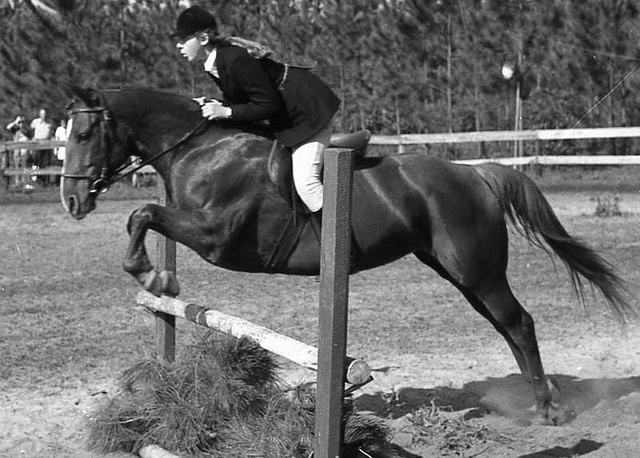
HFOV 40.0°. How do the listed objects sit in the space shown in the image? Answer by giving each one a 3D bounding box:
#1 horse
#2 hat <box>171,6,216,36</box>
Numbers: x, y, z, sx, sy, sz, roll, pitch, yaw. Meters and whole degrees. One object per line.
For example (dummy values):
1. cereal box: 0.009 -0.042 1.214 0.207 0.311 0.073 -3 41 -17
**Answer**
1. horse: 0.412 0.198 9.101 6.041 2.919 1.214 3 21 -10
2. hat: -1.165 -1.943 8.159 0.364 0.191 0.264 -3 13 -8
